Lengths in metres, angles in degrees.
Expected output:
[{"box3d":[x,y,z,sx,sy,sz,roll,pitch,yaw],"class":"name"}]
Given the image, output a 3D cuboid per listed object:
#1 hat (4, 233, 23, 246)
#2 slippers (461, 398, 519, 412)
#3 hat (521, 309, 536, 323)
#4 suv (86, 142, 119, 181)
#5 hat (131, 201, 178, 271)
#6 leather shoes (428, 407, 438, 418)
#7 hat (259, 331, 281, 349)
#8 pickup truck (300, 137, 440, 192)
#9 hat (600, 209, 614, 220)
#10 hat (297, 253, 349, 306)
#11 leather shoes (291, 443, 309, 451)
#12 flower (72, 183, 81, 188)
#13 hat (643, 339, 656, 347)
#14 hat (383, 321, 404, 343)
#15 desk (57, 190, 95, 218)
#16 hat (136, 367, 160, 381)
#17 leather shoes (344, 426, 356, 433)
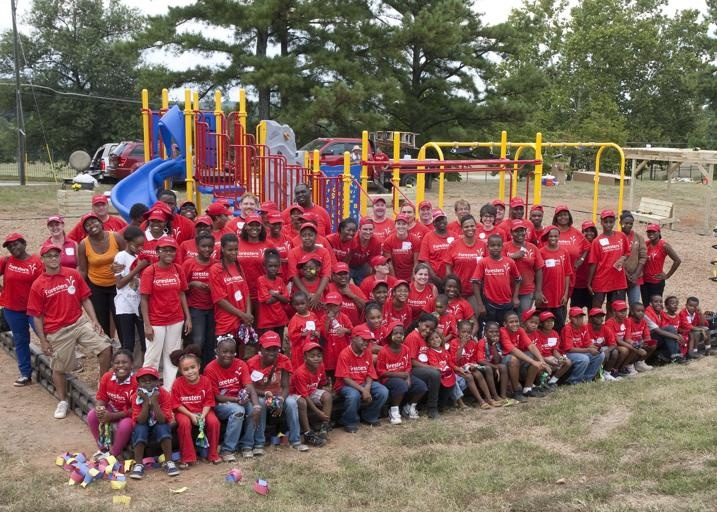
[{"box3d":[-5.254,-0.227,14.020,0.275,0.192,0.223,0,4,-14],"class":"hat"},{"box3d":[2.081,2.341,14.455,0.948,0.115,0.295,1,4,4],"class":"slippers"},{"box3d":[2.813,0.996,15.004,0.204,0.244,0.351,0,4,-5],"class":"hat"},{"box3d":[-8.946,-3.214,32.064,1.060,0.970,1.884,-4,10,-21],"class":"suv"},{"box3d":[-3.100,-0.286,14.063,0.547,1.034,1.049,0,4,-7],"class":"hat"},{"box3d":[1.165,2.422,14.117,0.142,0.136,0.139,1,4,5],"class":"leather shoes"},{"box3d":[-1.265,1.217,13.331,0.284,0.234,0.304,0,4,-13],"class":"hat"},{"box3d":[0.596,-3.087,28.231,5.066,2.020,2.126,1,0,-28],"class":"pickup truck"},{"box3d":[4.330,-0.698,15.874,0.215,0.134,0.224,2,4,18],"class":"hat"},{"box3d":[-0.637,0.416,14.242,0.610,0.799,0.465,-2,5,-33],"class":"hat"},{"box3d":[-0.812,2.733,13.129,0.187,0.084,0.097,0,1,32],"class":"leather shoes"},{"box3d":[-8.076,-1.995,26.395,0.303,0.140,0.313,1,3,-9],"class":"flower"},{"box3d":[5.020,1.499,15.730,0.267,0.124,0.041,-1,4,-22],"class":"hat"},{"box3d":[0.539,1.166,14.159,0.244,0.193,0.396,4,-14,-8],"class":"hat"},{"box3d":[-7.327,-1.377,23.933,0.929,0.708,0.933,-1,8,-15],"class":"desk"},{"box3d":[-2.919,1.617,12.784,0.291,0.162,0.356,0,4,-6],"class":"hat"},{"box3d":[-0.091,2.583,13.670,0.152,0.149,0.072,-3,-6,41],"class":"leather shoes"}]
